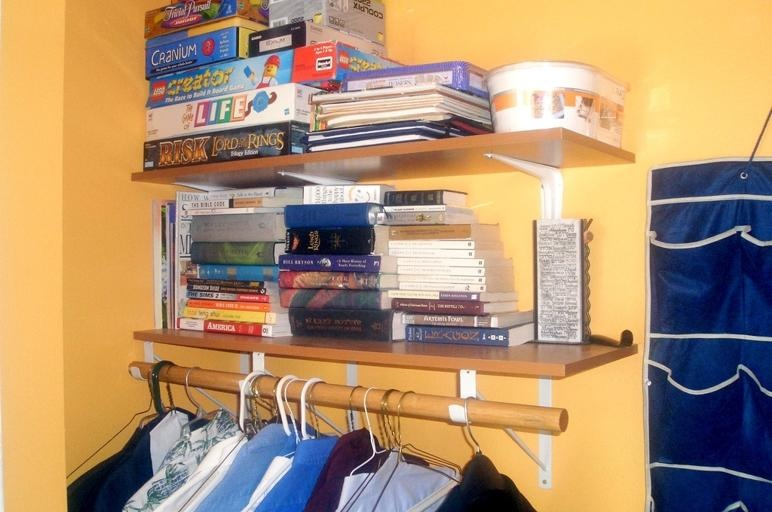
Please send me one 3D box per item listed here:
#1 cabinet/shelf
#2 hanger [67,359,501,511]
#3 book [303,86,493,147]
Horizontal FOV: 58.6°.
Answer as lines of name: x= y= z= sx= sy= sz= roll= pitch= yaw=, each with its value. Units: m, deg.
cabinet/shelf: x=0.010 y=0.033 z=2.000 sx=1.329 sy=0.542 sz=0.453 roll=-1 pitch=1 yaw=23
hanger: x=-0.373 y=0.495 z=1.864 sx=1.243 sy=0.393 sz=0.382 roll=-1 pitch=1 yaw=20
book: x=0.029 y=-0.375 z=1.887 sx=0.514 sy=0.144 sz=0.155 roll=-1 pitch=1 yaw=6
